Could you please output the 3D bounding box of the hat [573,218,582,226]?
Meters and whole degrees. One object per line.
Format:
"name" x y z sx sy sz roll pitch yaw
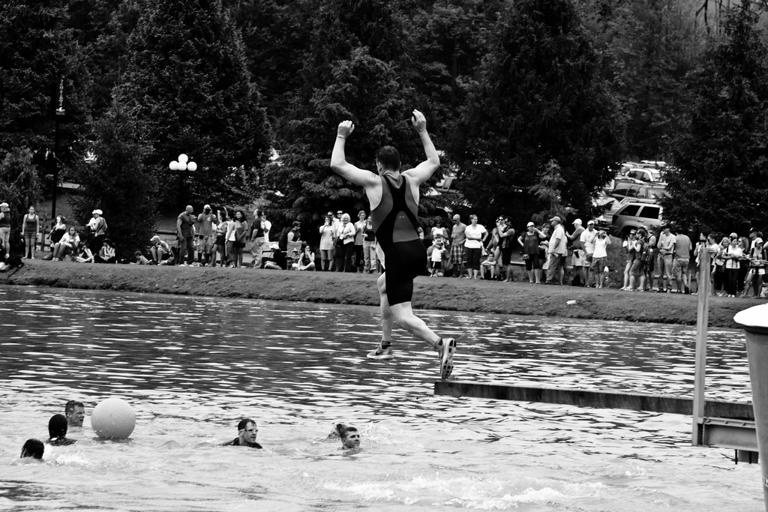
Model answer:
"hat" 6.046 -1.100 41.649 0.335 0.231 0.444 1 -7 12

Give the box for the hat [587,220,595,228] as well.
"hat" 6.323 -0.985 40.914 0.237 0.248 0.265 2 7 13

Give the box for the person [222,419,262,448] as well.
"person" -2.075 2.615 19.253 0.735 0.330 0.387 6 -11 -37
